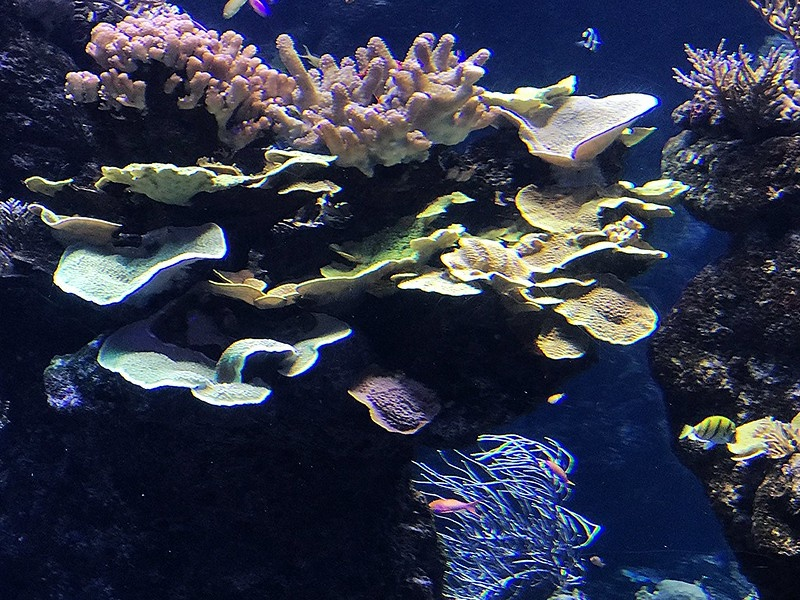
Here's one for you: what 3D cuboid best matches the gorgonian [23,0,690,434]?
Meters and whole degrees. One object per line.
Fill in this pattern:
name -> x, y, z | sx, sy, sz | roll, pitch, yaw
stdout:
gorgonian -> -0.343, -0.473, 6.529 | 3.744, 1.641, 2.755 | 24, 47, 11
